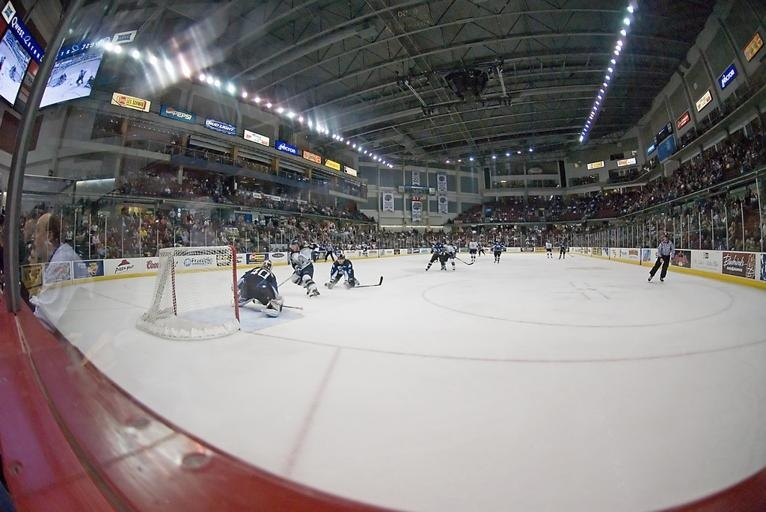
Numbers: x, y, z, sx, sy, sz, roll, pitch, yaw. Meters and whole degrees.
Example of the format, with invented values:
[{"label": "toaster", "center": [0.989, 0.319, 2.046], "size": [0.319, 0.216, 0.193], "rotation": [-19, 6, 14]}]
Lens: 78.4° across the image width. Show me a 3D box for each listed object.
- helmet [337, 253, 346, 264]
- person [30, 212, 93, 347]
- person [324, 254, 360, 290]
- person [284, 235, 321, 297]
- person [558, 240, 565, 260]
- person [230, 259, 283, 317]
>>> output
[{"label": "helmet", "center": [-1.061, 0.035, 11.744], "size": [0.254, 0.249, 0.233], "rotation": [-1, 28, 6]}, {"label": "person", "center": [-4.745, 0.415, 6.904], "size": [0.647, 1.917, 0.883], "rotation": [18, 16, 41]}, {"label": "person", "center": [-1.121, 0.358, 12.346], "size": [0.804, 0.909, 1.550], "rotation": [1, 1, -15]}, {"label": "person", "center": [-1.842, 0.249, 10.854], "size": [0.633, 1.233, 1.280], "rotation": [1, 1, -12]}, {"label": "person", "center": [10.727, -0.426, 28.094], "size": [0.281, 0.915, 1.272], "rotation": [2, 1, 15]}, {"label": "person", "center": [-2.384, 0.590, 8.832], "size": [0.991, 0.573, 1.659], "rotation": [4, 17, -10]}]
